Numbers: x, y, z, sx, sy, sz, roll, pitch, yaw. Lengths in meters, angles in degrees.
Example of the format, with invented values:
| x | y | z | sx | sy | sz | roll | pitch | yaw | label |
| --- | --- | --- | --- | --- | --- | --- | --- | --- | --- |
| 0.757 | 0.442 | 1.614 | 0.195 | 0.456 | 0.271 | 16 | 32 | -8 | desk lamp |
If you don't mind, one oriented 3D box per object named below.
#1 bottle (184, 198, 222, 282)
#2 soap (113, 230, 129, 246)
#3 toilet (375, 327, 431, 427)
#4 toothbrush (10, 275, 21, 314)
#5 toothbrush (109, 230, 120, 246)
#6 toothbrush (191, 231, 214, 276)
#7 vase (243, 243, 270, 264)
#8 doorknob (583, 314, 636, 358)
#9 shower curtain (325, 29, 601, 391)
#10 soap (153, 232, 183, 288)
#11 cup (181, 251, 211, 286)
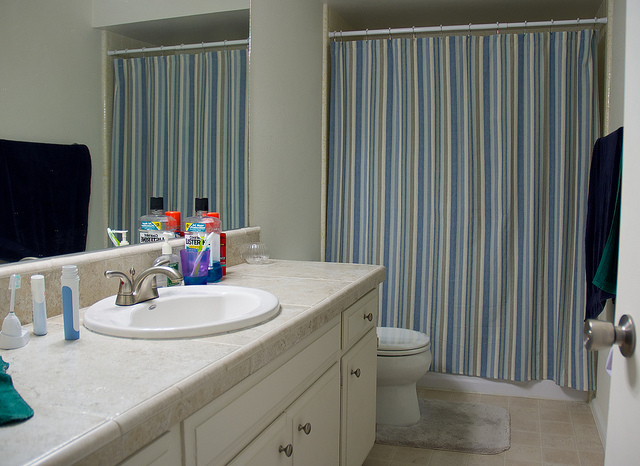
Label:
| x | y | z | sx | sy | sz | roll | pitch | yaw | label |
| --- | --- | --- | --- | --- | --- | --- | --- | --- | --- |
| -0.486 | 0.027 | 2.447 | 0.129 | 0.339 | 0.127 | 0 | 2 | 0 | bottle |
| -0.747 | 0.022 | 2.245 | 0.047 | 0.052 | 0.029 | -1 | 5 | -41 | soap |
| 0.372 | 0.804 | 3.340 | 0.485 | 0.471 | 0.475 | 0 | 2 | 9 | toilet |
| -0.877 | 0.175 | 1.715 | 0.032 | 0.109 | 0.063 | -6 | 11 | -29 | toothbrush |
| -0.760 | 0.015 | 2.209 | 0.002 | 0.056 | 0.042 | 5 | 11 | 30 | toothbrush |
| -0.446 | 0.069 | 2.342 | 0.027 | 0.259 | 0.028 | 34 | -37 | -30 | toothbrush |
| -0.298 | 0.093 | 2.779 | 0.094 | 0.071 | 0.094 | 1 | 4 | 20 | vase |
| 0.714 | 0.255 | 1.470 | 0.100 | 0.101 | 0.066 | -2 | 10 | -9 | doorknob |
| 0.897 | -0.149 | 3.454 | 1.948 | 2.747 | 0.218 | 1 | 5 | 16 | shower curtain |
| -0.564 | 0.108 | 2.230 | 0.055 | 0.214 | 0.085 | 5 | 11 | 33 | soap |
| -0.467 | 0.128 | 2.330 | 0.114 | 0.132 | 0.114 | -16 | -8 | -2 | cup |
